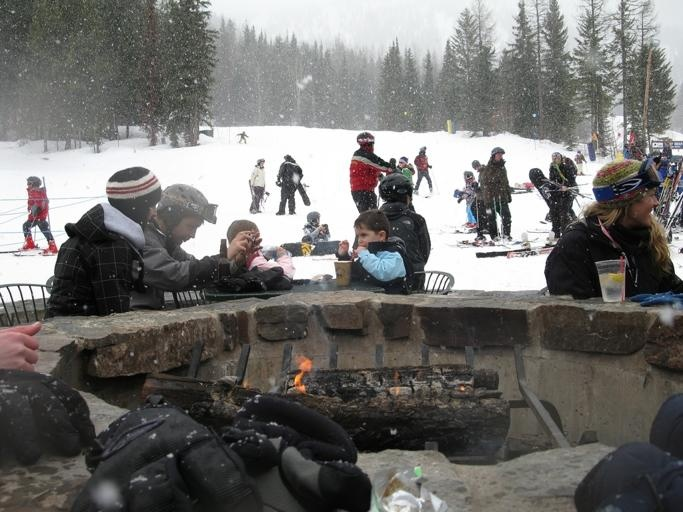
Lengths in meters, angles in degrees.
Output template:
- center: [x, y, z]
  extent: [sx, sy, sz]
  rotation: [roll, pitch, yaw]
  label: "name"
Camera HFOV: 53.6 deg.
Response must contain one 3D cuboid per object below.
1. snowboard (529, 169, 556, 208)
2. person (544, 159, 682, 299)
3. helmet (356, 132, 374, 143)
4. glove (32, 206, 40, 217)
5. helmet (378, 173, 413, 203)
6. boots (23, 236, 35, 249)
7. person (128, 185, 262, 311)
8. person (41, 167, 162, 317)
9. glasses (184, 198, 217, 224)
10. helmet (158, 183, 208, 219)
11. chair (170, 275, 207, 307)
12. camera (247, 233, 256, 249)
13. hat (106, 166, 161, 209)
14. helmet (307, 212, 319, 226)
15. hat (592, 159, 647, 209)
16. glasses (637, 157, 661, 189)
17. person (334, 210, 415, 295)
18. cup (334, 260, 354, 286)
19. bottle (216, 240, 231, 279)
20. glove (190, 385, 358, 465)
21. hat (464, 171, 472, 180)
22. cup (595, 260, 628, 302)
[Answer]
- center: [4.044, -1.516, 13.619]
  extent: [0.239, 0.323, 1.134]
  rotation: [1, 36, -10]
  label: "snowboard"
- center: [2.090, -0.152, 5.466]
  extent: [1.080, 1.450, 0.917]
  rotation: [-3, 0, -19]
  label: "person"
- center: [0.355, -1.750, 9.911]
  extent: [0.225, 0.197, 0.407]
  rotation: [-2, 4, 9]
  label: "helmet"
- center: [-5.798, -0.858, 12.793]
  extent: [0.126, 0.202, 0.055]
  rotation: [-3, 4, 2]
  label: "glove"
- center: [0.569, -0.725, 7.119]
  extent: [0.255, 0.341, 0.324]
  rotation: [3, 10, 11]
  label: "helmet"
- center: [-6.132, -0.269, 13.282]
  extent: [0.182, 0.304, 0.280]
  rotation: [1, -2, -10]
  label: "boots"
- center: [-1.234, -0.152, 5.921]
  extent: [1.041, 1.479, 0.726]
  rotation: [-2, 12, -14]
  label: "person"
- center: [-1.753, -0.131, 5.019]
  extent: [0.854, 1.099, 0.580]
  rotation: [-5, 5, -33]
  label: "person"
- center: [-1.240, -0.390, 5.962]
  extent: [0.197, 0.134, 0.165]
  rotation: [19, 6, 12]
  label: "glasses"
- center: [-1.360, -0.499, 5.850]
  extent: [0.325, 0.334, 0.281]
  rotation: [3, 9, -9]
  label: "helmet"
- center: [-1.491, 0.342, 6.555]
  extent: [0.387, 0.252, 0.271]
  rotation: [-6, 7, -25]
  label: "chair"
- center: [-0.800, -0.140, 6.029]
  extent: [0.037, 0.123, 0.080]
  rotation: [5, 7, 4]
  label: "camera"
- center: [-1.652, -0.532, 5.377]
  extent: [0.434, 0.407, 0.405]
  rotation: [-9, 17, -15]
  label: "hat"
- center: [-0.587, -0.797, 14.228]
  extent: [0.256, 0.279, 0.478]
  rotation: [-3, 4, -5]
  label: "helmet"
- center: [2.139, -0.534, 5.219]
  extent: [0.323, 0.235, 0.351]
  rotation: [-21, 16, 24]
  label: "hat"
- center: [2.323, -0.612, 5.147]
  extent: [0.160, 0.226, 0.100]
  rotation: [-46, 13, -22]
  label: "glasses"
- center: [0.297, 0.191, 6.370]
  extent: [0.607, 1.212, 0.725]
  rotation: [7, -10, -36]
  label: "person"
- center: [0.049, 0.160, 6.266]
  extent: [0.176, 0.261, 0.196]
  rotation: [-1, 1, 17]
  label: "cup"
- center: [-1.019, 0.019, 5.868]
  extent: [0.113, 0.341, 0.223]
  rotation: [-3, 4, -11]
  label: "bottle"
- center: [-0.323, 0.894, 3.660]
  extent: [0.675, 0.240, 0.537]
  rotation: [18, -1, 11]
  label: "glove"
- center: [3.070, -1.955, 16.251]
  extent: [0.146, 0.229, 0.179]
  rotation: [3, 6, -11]
  label: "hat"
- center: [1.974, 0.210, 5.003]
  extent: [0.259, 0.389, 0.256]
  rotation: [1, -9, 0]
  label: "cup"
